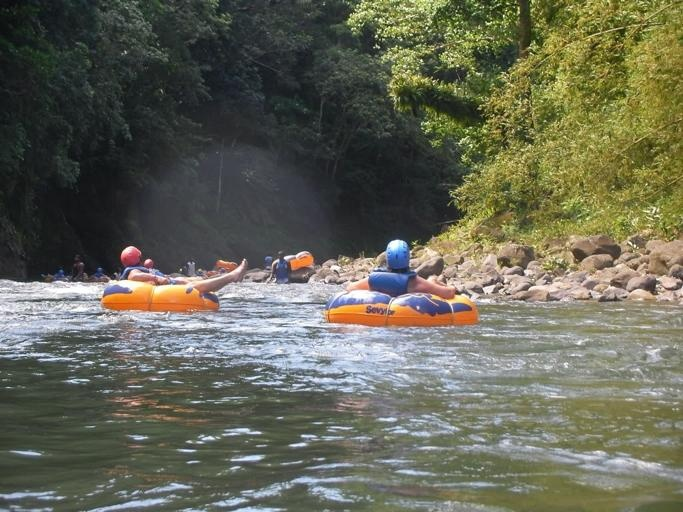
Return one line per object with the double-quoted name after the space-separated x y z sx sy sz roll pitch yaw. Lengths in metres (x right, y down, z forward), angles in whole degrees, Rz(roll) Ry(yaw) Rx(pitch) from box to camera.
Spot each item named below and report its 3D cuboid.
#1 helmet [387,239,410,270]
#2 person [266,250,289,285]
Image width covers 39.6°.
1.086 -0.039 18.191 0.399 0.564 0.559 0 17 7 "helmet"
-1.917 0.355 28.918 0.580 1.123 1.410 -4 13 -15 "person"
